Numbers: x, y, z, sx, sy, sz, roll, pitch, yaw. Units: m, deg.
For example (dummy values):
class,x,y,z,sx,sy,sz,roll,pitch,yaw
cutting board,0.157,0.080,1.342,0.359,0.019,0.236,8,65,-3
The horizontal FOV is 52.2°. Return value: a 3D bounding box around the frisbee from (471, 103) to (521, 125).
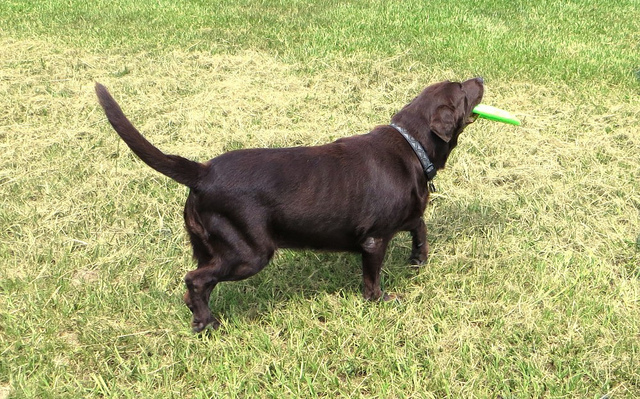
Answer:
class,x,y,z,sx,sy,sz,roll,pitch,yaw
frisbee,2.322,-1.111,8.525,0.626,0.103,0.328,12,18,-6
